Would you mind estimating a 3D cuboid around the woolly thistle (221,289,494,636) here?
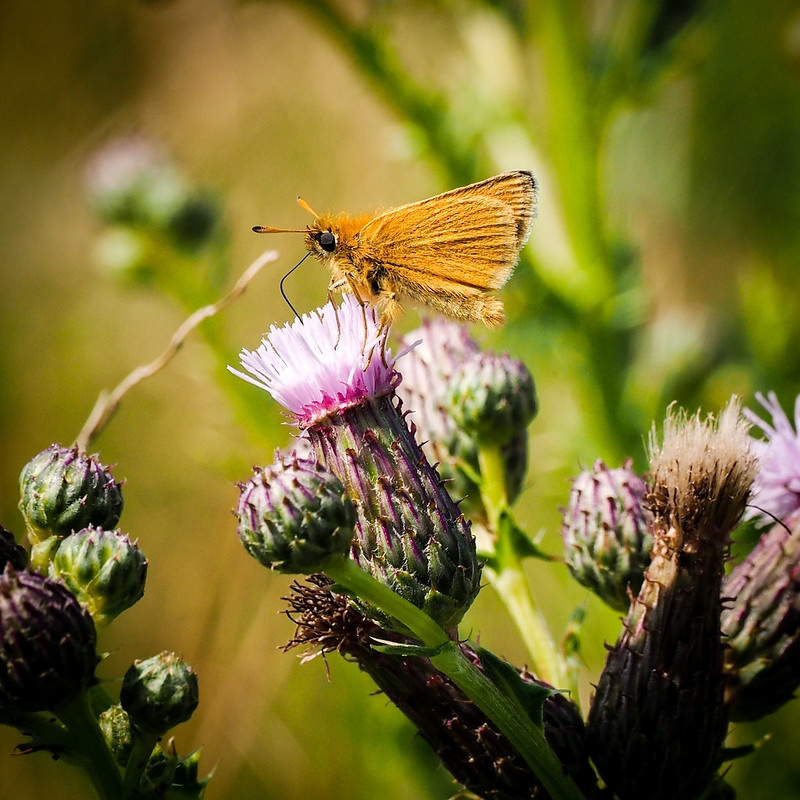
[{"bbox_3d":[-0.014,0.109,2.058,0.327,0.655,0.279,-33,15,-37],"label":"woolly thistle"}]
